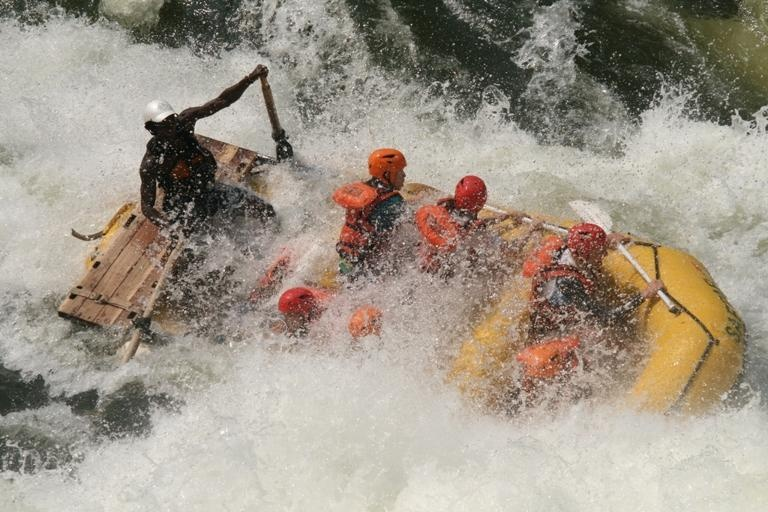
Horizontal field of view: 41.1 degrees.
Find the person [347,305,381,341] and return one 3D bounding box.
[{"bbox_3d":[-0.302,1.284,19.530,0.774,0.254,0.827,-9,32,1],"label":"person"}]

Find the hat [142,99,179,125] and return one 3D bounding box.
[{"bbox_3d":[-4.340,-2.749,19.653,0.594,0.463,0.294,-33,-10,-8],"label":"hat"}]

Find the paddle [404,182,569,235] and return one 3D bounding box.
[{"bbox_3d":[2.063,-0.935,20.675,2.151,0.460,0.488,22,2,11],"label":"paddle"}]
